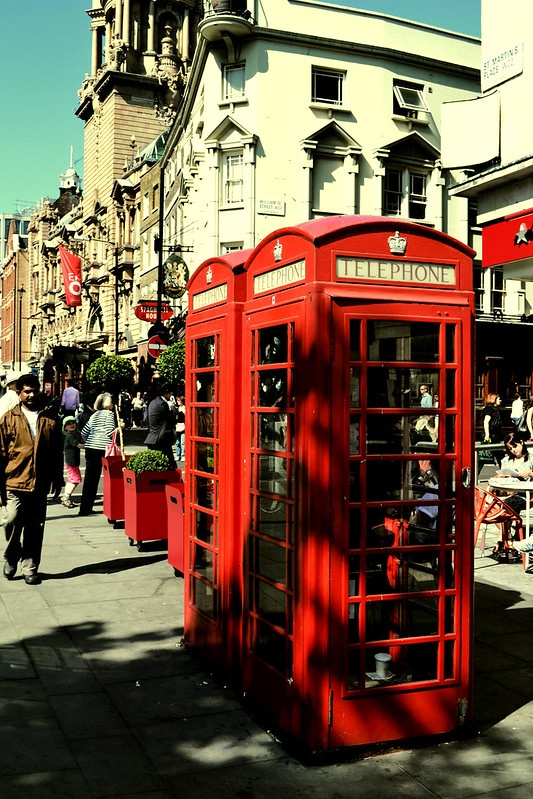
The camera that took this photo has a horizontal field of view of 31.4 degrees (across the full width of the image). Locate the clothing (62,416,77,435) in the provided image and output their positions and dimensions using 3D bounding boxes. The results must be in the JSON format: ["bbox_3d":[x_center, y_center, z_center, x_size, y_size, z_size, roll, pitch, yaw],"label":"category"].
[{"bbox_3d":[-2.743,0.337,13.223,0.205,0.244,0.239,-6,-21,-19],"label":"clothing"}]

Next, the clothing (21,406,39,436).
[{"bbox_3d":[-2.001,0.180,8.049,0.153,0.251,0.086,1,-10,-7],"label":"clothing"}]

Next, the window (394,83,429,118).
[{"bbox_3d":[4.489,-9.348,29.646,1.049,1.158,0.070,21,-27,-33],"label":"window"}]

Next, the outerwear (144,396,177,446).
[{"bbox_3d":[-1.193,0.252,10.541,0.279,0.561,0.444,0,1,11],"label":"outerwear"}]

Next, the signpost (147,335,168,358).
[{"bbox_3d":[-2.883,-1.417,25.244,0.093,0.764,0.737,-2,-10,32],"label":"signpost"}]

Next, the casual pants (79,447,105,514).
[{"bbox_3d":[-2.328,1.121,12.664,0.305,1.273,0.372,2,24,-13],"label":"casual pants"}]

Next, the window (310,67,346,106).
[{"bbox_3d":[1.793,-9.314,28.092,1.138,1.295,0.045,1,0,-30],"label":"window"}]

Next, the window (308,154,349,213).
[{"bbox_3d":[1.768,-6.324,27.809,1.594,2.426,0.243,2,-4,-34],"label":"window"}]

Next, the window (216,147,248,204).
[{"bbox_3d":[-1.047,-6.474,27.755,0.857,1.684,0.236,1,1,37],"label":"window"}]

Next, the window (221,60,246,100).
[{"bbox_3d":[-0.945,-9.385,27.847,0.223,1.034,0.837,-1,1,-45],"label":"window"}]

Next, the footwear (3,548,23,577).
[{"bbox_3d":[-2.175,1.351,8.120,0.100,0.344,0.133,0,-16,0],"label":"footwear"}]

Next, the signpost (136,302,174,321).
[{"bbox_3d":[-3.680,-2.899,31.321,1.167,0.920,0.188,0,4,3],"label":"signpost"}]

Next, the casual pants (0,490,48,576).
[{"bbox_3d":[-2.058,1.150,8.075,0.332,0.761,0.511,0,1,-16],"label":"casual pants"}]

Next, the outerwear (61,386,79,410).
[{"bbox_3d":[-4.944,0.009,23.878,0.532,0.838,0.282,-2,-12,-1],"label":"outerwear"}]
